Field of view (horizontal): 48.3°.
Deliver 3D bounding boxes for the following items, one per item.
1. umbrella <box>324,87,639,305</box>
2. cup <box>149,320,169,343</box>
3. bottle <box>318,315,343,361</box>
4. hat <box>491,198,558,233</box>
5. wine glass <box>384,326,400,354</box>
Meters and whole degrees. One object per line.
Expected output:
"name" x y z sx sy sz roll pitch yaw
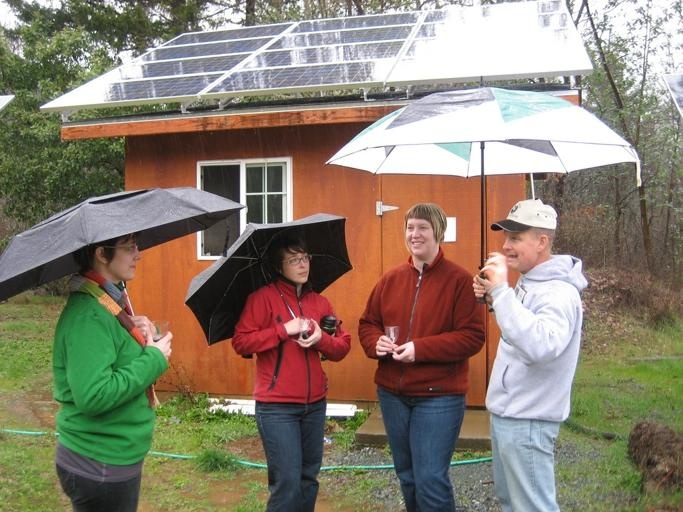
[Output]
"umbrella" 1.388 -0.951 7.001 1.927 1.524 2.176 -6 9 -19
"cup" -1.551 0.628 6.467 0.120 0.137 0.144 0 -9 0
"bottle" -0.114 0.779 7.177 0.217 0.441 0.259 16 -11 10
"hat" 1.640 -0.311 6.718 0.410 0.280 0.299 4 -1 2
"wine glass" 0.476 0.746 7.070 0.129 0.261 0.141 -5 -7 5
